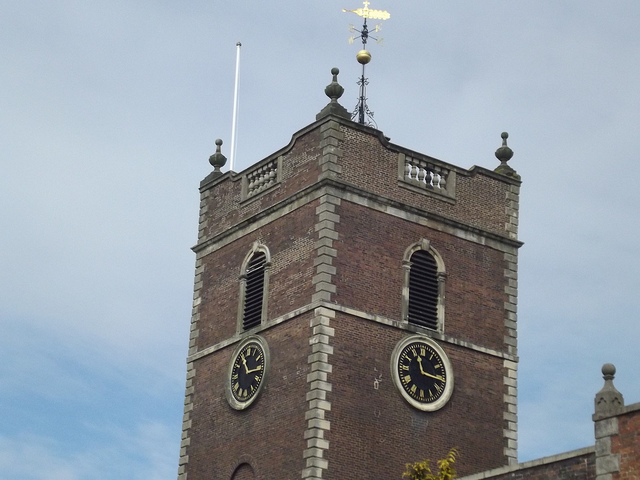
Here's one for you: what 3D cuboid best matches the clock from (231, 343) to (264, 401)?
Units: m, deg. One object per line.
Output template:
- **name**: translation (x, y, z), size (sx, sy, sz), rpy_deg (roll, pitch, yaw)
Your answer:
- **clock**: translation (-2.534, 4.508, 60.648), size (0.156, 2.295, 2.251), rpy_deg (9, -78, 29)
